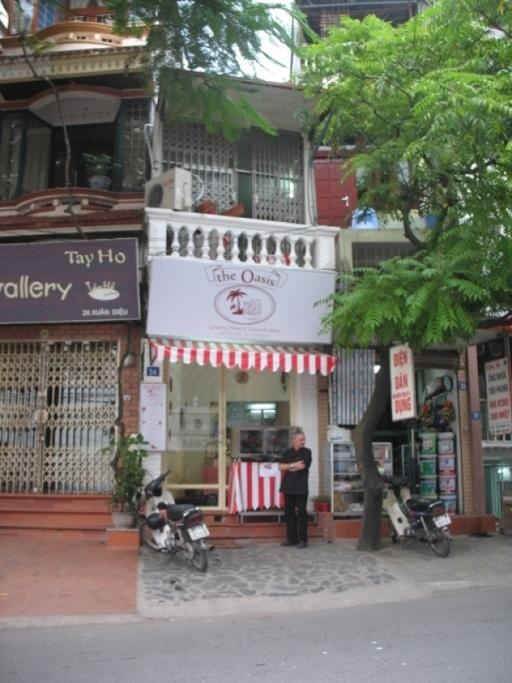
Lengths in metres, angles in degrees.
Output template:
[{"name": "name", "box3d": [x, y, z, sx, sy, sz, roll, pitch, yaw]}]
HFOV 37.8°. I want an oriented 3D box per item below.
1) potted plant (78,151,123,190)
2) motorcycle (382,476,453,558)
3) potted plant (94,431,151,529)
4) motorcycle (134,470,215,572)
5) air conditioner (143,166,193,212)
[{"name": "potted plant", "box3d": [-2.892, -3.229, 14.251, 0.730, 0.877, 0.816, -1, -2, 10]}, {"name": "motorcycle", "box3d": [2.273, 2.441, 10.472, 0.373, 0.946, 1.487, 2, -5, -20]}, {"name": "potted plant", "box3d": [-1.828, 1.881, 10.595, 0.619, 1.392, 0.635, -1, 1, -5]}, {"name": "motorcycle", "box3d": [-1.081, 2.302, 9.563, 0.483, 1.069, 1.666, -16, 9, -32]}, {"name": "air conditioner", "box3d": [-1.442, -2.370, 12.066, 0.836, 0.700, 0.400, -5, -7, 36]}]
